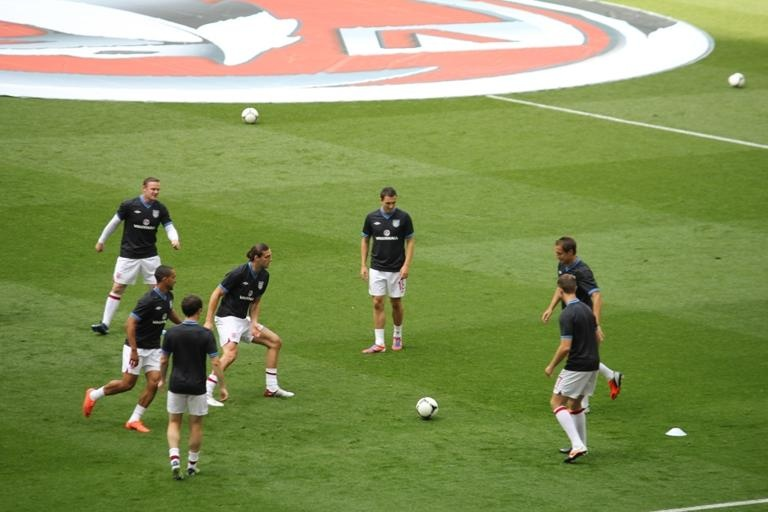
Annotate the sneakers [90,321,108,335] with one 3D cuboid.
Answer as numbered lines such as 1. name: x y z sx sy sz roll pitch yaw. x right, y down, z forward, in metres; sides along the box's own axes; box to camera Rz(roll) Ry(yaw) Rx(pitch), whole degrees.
1. sneakers: -5.616 1.466 23.053 0.208 0.159 0.356 -23 9 -31

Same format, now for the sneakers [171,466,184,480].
1. sneakers: -3.391 3.566 19.048 0.139 0.270 0.118 -1 43 -13

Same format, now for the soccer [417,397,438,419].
1. soccer: 0.769 2.739 20.748 0.312 0.258 0.293 14 40 36

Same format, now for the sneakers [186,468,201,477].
1. sneakers: -3.155 3.584 19.221 0.143 0.146 0.154 -13 33 -27

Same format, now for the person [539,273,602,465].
1. person: 3.209 1.922 19.833 0.872 3.154 1.081 7 11 8

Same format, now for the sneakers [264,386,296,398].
1. sneakers: -1.933 2.528 21.469 0.623 0.192 0.193 -1 5 -6

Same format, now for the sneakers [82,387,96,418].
1. sneakers: -5.199 2.576 20.449 0.291 0.495 0.215 7 6 9

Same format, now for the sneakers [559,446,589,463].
1. sneakers: 3.222 3.410 19.792 0.230 0.192 0.535 0 -3 -20

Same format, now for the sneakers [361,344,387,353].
1. sneakers: -0.187 1.842 22.942 0.521 0.151 0.160 0 -1 -7

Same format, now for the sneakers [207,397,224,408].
1. sneakers: -3.074 2.664 21.093 0.429 0.129 0.128 7 15 13

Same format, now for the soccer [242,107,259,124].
1. soccer: -3.789 -3.968 32.899 0.438 0.428 0.460 3 10 -8

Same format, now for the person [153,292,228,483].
1. person: -3.191 2.150 19.306 1.077 3.001 1.212 4 11 -9

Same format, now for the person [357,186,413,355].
1. person: 0.021 0.255 23.163 1.016 3.278 1.163 5 11 -1

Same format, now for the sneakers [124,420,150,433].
1. sneakers: -4.321 2.989 20.314 0.435 0.136 0.197 3 5 11
